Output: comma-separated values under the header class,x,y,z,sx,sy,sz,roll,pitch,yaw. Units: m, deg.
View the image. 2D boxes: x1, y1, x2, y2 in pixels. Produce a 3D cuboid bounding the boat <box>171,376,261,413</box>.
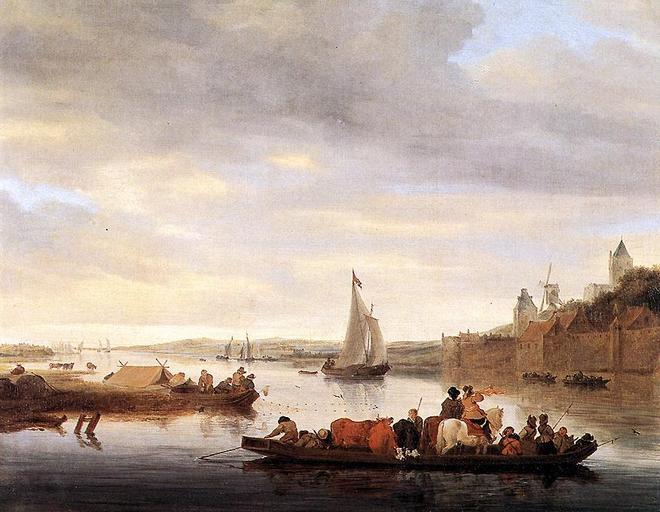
class,x,y,z,sx,sy,sz,roll,pitch,yaw
boat,-4.485,5.603,39.980,3.416,1.126,1.544,-4,10,-29
